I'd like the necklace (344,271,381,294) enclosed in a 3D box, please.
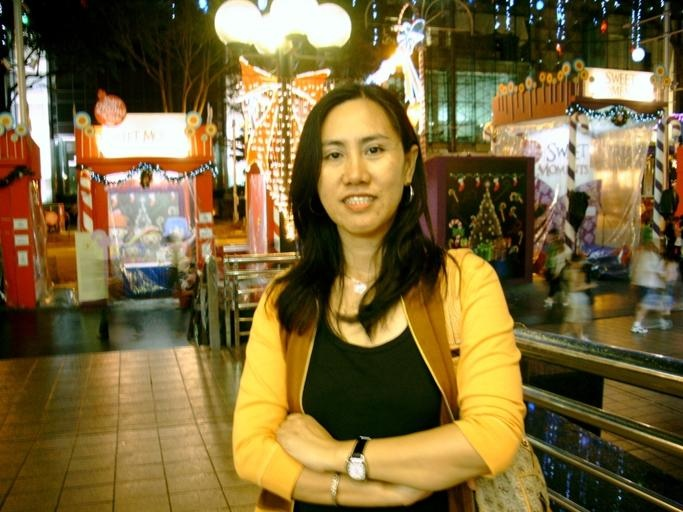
[{"bbox_3d":[0.070,0.112,2.287,0.107,0.086,0.037,8,-3,33],"label":"necklace"}]

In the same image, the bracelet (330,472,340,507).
[{"bbox_3d":[-0.027,0.850,2.024,0.039,0.107,0.020,1,6,19],"label":"bracelet"}]
